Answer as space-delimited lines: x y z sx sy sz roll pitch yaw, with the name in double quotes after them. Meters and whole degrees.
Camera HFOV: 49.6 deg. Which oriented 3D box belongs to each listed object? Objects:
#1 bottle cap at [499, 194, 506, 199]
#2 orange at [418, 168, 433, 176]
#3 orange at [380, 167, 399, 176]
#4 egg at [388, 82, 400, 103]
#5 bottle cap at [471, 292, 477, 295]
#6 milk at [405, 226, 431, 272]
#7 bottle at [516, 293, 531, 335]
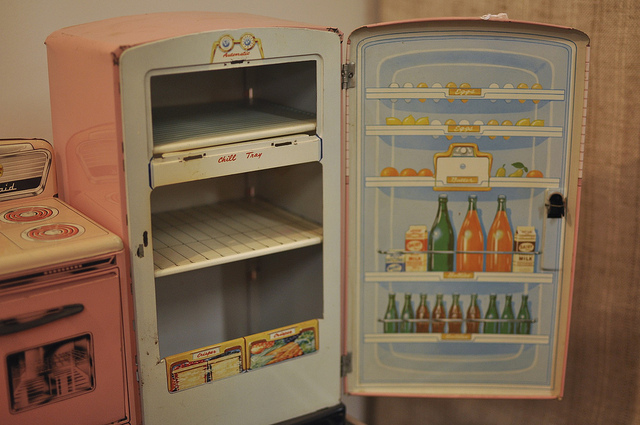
0.689 -0.062 2.626 0.023 0.013 0.005 0 -8 3 "bottle cap"
0.395 -0.152 2.610 0.039 0.031 0.033 -3 -5 27 "orange"
0.259 -0.152 2.606 0.047 0.040 0.039 -29 -19 34 "orange"
0.271 -0.443 2.548 0.035 0.073 0.012 1 7 2 "egg"
0.600 0.317 2.711 0.016 0.008 0.011 0 -6 6 "bottle cap"
0.390 0.136 2.714 0.119 0.157 0.113 -5 -9 6 "milk"
0.807 0.418 2.747 0.059 0.180 0.056 -1 9 0 "bottle"
